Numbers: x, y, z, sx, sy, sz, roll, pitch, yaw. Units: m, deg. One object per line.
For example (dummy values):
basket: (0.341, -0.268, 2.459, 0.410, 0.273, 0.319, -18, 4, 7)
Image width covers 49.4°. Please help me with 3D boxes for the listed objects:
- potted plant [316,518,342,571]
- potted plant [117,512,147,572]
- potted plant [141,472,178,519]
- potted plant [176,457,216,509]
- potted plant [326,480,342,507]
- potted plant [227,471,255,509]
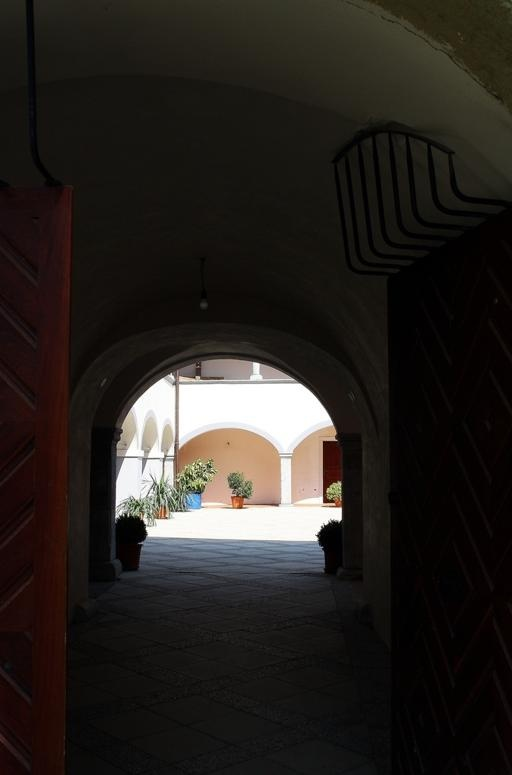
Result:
potted plant: (1.325, 2.781, 9.836, 0.510, 1.153, 0.662, -3, -5, 15)
potted plant: (-2.334, 2.777, 10.204, 0.555, 1.204, 0.745, -1, -2, 5)
potted plant: (-3.243, 3.633, 18.480, 0.781, 1.373, 2.412, -1, -8, 3)
potted plant: (-2.437, 3.968, 21.621, 1.393, 2.514, 1.520, 1, 3, 2)
potted plant: (3.192, 4.412, 23.009, 0.547, 0.969, 2.343, -2, -8, 11)
potted plant: (-0.800, 4.244, 23.190, 1.052, 2.031, 1.145, 3, -7, -18)
